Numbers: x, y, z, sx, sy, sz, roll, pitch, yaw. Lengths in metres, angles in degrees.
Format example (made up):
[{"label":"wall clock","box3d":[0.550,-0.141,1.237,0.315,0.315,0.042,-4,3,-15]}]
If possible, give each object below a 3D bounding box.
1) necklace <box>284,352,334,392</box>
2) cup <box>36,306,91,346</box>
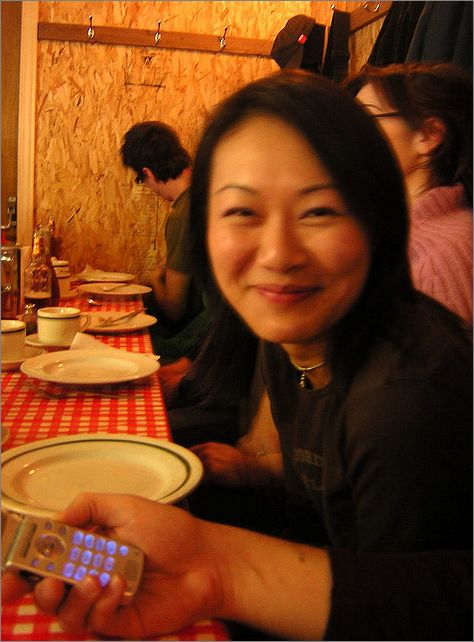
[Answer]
[{"label":"necklace","box3d":[0.114,0.079,0.830,0.042,0.057,0.022,-8,-5,28]},{"label":"cup","box3d":[-0.443,0.012,1.355,0.120,0.084,0.089,-1,5,-22]}]
